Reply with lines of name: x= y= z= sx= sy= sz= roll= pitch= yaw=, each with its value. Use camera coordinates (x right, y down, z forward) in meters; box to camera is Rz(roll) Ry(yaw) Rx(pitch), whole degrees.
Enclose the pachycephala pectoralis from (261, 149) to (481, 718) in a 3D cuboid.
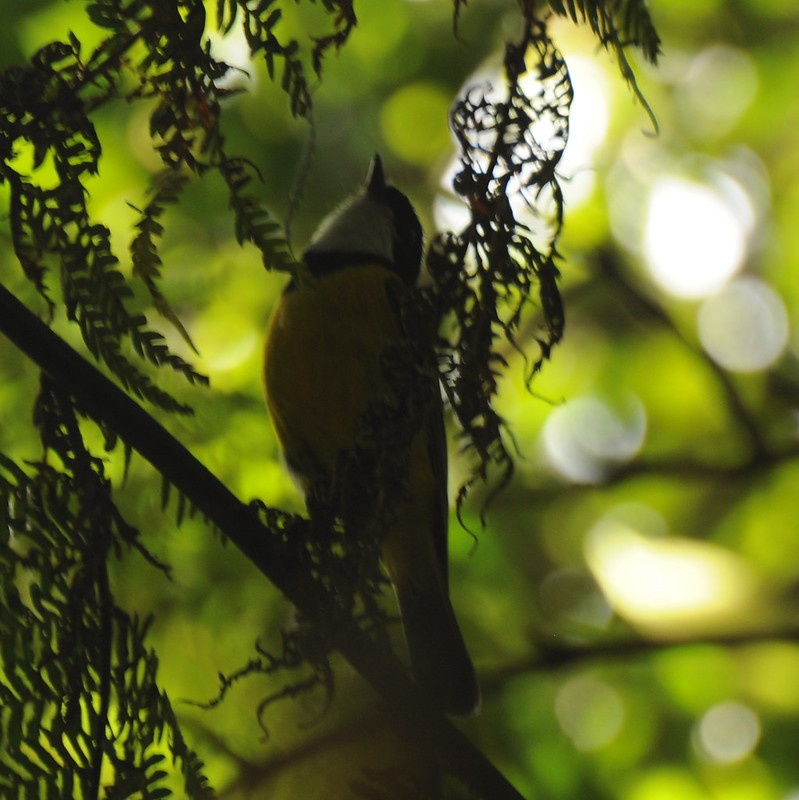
pachycephala pectoralis: x=-0.033 y=-0.026 z=1.294 sx=0.119 sy=0.549 sz=0.290 roll=-4 pitch=-21 yaw=9
